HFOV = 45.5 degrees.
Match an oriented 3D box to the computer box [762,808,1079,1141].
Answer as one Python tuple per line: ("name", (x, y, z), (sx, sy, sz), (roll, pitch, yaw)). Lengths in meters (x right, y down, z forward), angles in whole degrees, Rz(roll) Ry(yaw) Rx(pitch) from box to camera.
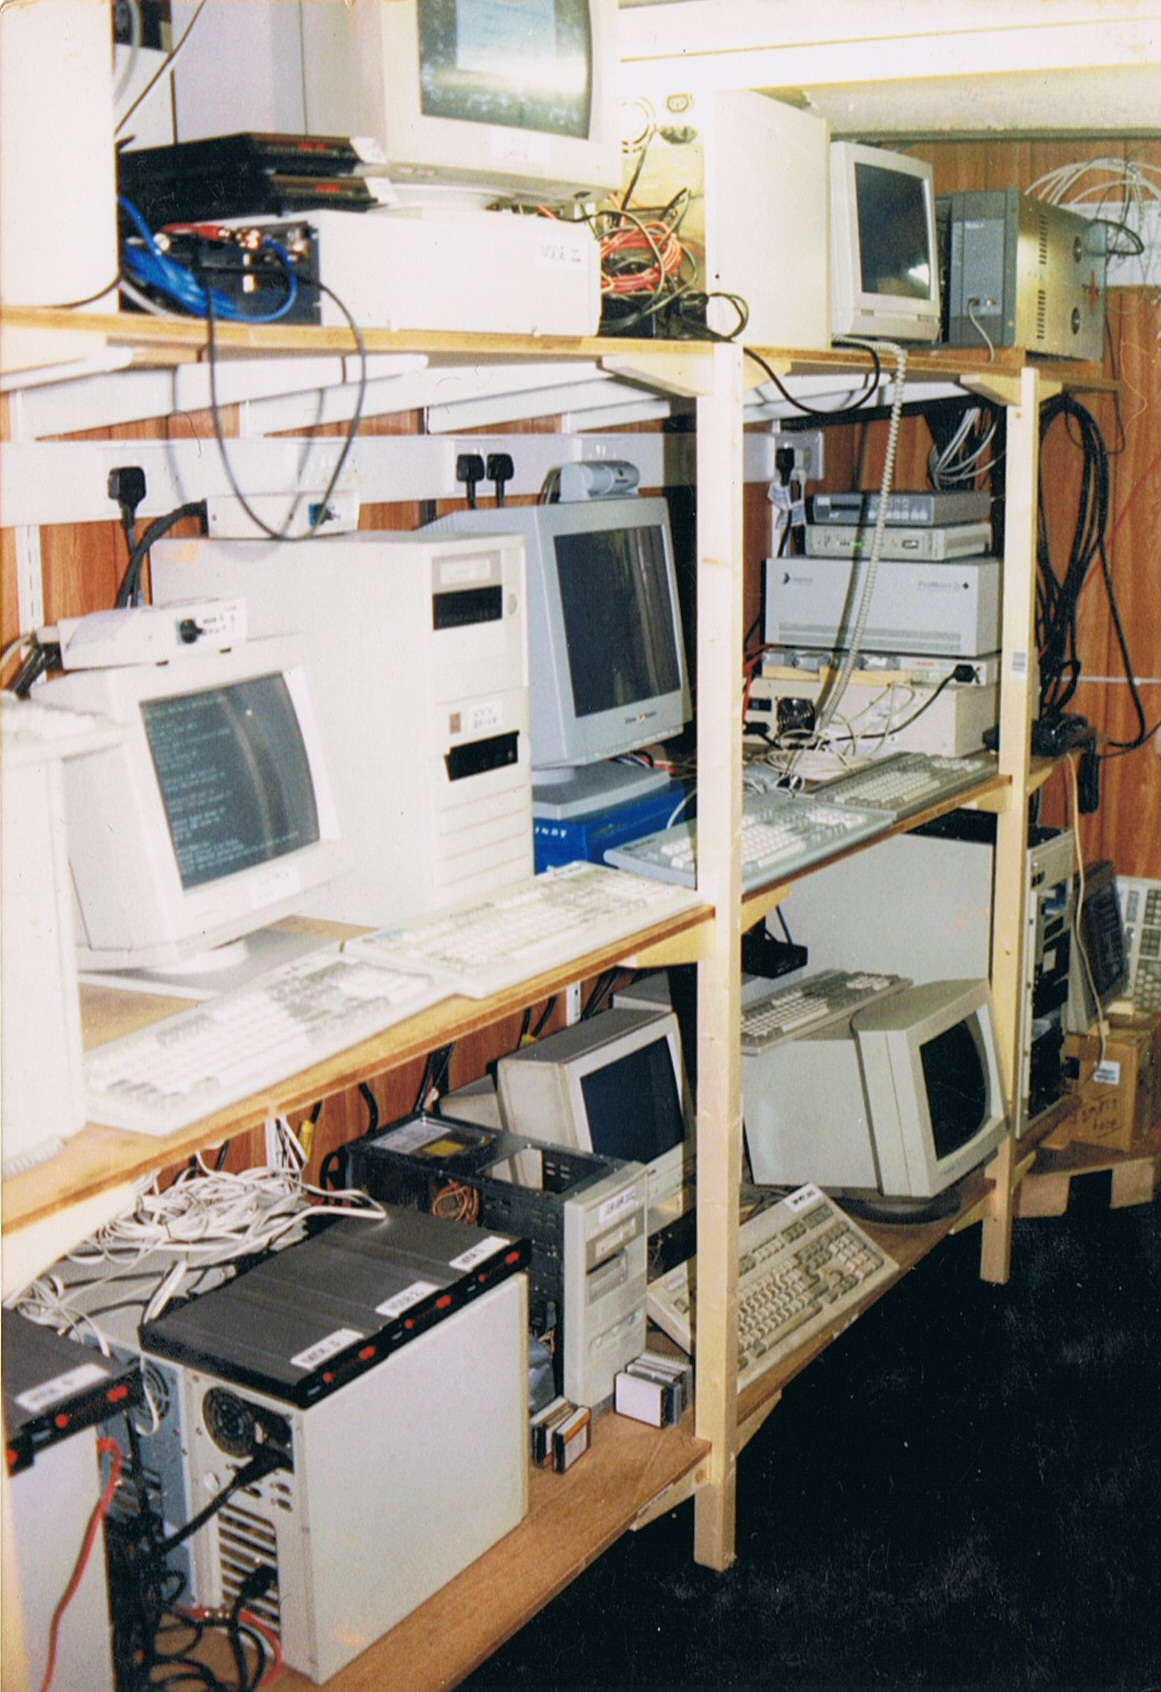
("computer box", (0.756, 0.195, 3.140), (0.624, 0.659, 0.691), (3, 8, 16))

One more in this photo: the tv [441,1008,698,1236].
("tv", (-0.082, 0.453, 2.234), (0.312, 0.302, 0.228), (-10, 6, -11))

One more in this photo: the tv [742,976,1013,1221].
("tv", (0.550, 0.455, 2.573), (0.499, 0.335, 0.487), (-9, 5, -18))

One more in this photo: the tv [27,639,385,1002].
("tv", (-0.417, -0.045, 1.514), (0.161, 0.340, 0.345), (0, 13, 22))

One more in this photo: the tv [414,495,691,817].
("tv", (-0.022, -0.350, 2.282), (0.229, 0.391, 0.430), (0, 14, 31))

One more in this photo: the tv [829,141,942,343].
("tv", (0.501, -1.085, 2.530), (0.181, 0.316, 0.334), (5, 17, 39))

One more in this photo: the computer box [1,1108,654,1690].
("computer box", (-0.248, 0.510, 1.637), (0.412, 0.347, 0.699), (6, 16, 25))

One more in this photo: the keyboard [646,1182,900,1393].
("keyboard", (0.332, 0.722, 2.279), (0.187, 0.070, 0.387), (43, 31, 18))

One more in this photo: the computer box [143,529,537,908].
("computer box", (-0.315, -0.166, 1.853), (0.462, 0.507, 0.278), (8, 16, 26))
